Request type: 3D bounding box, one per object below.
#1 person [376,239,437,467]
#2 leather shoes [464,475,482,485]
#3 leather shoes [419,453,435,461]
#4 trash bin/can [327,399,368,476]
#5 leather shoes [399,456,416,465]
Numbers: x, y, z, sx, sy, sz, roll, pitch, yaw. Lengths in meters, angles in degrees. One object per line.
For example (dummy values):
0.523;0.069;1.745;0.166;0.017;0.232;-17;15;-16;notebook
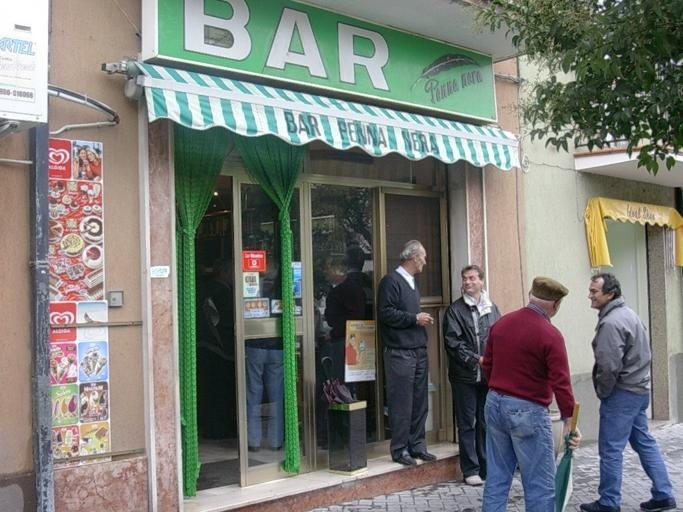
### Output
0.750;1.113;7.700;0.582;2.544;0.382;-3;-2;2;person
1.500;2.530;7.563;0.089;0.079;0.172;2;-13;-11;leather shoes
0.993;2.312;7.701;0.153;0.069;0.089;-1;-2;1;leather shoes
0.063;1.972;7.311;0.429;0.748;0.257;-3;-2;-3;trash bin/can
0.740;2.299;7.526;0.097;0.076;0.172;9;-14;-44;leather shoes
